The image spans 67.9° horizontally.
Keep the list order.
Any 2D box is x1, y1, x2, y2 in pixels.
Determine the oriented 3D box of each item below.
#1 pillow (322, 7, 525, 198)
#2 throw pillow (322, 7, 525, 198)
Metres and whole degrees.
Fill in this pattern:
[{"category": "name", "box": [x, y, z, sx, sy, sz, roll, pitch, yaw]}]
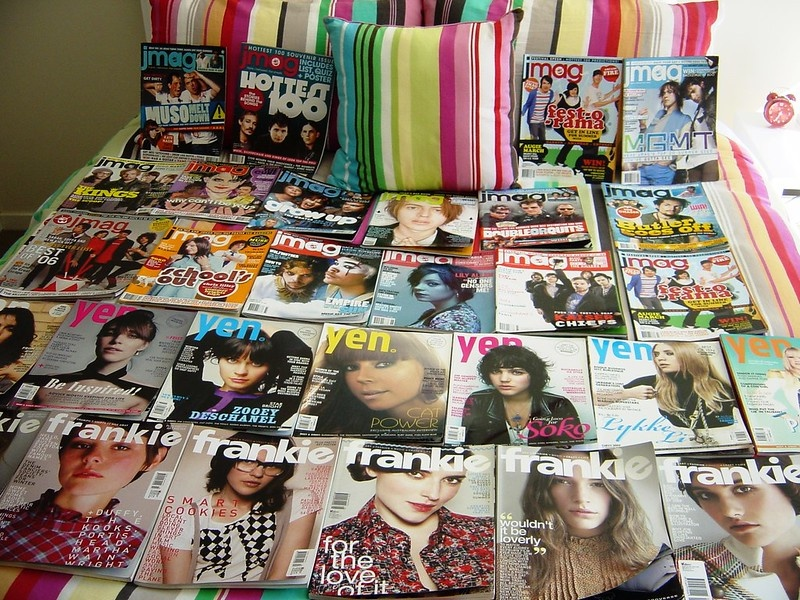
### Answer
[{"category": "pillow", "box": [0.116, -0.588, 1.842, 0.711, 0.506, 0.247, 11, 27, 27]}, {"category": "throw pillow", "box": [0.134, -0.600, 1.834, 0.740, 0.537, 0.257, 11, 27, 27]}]
